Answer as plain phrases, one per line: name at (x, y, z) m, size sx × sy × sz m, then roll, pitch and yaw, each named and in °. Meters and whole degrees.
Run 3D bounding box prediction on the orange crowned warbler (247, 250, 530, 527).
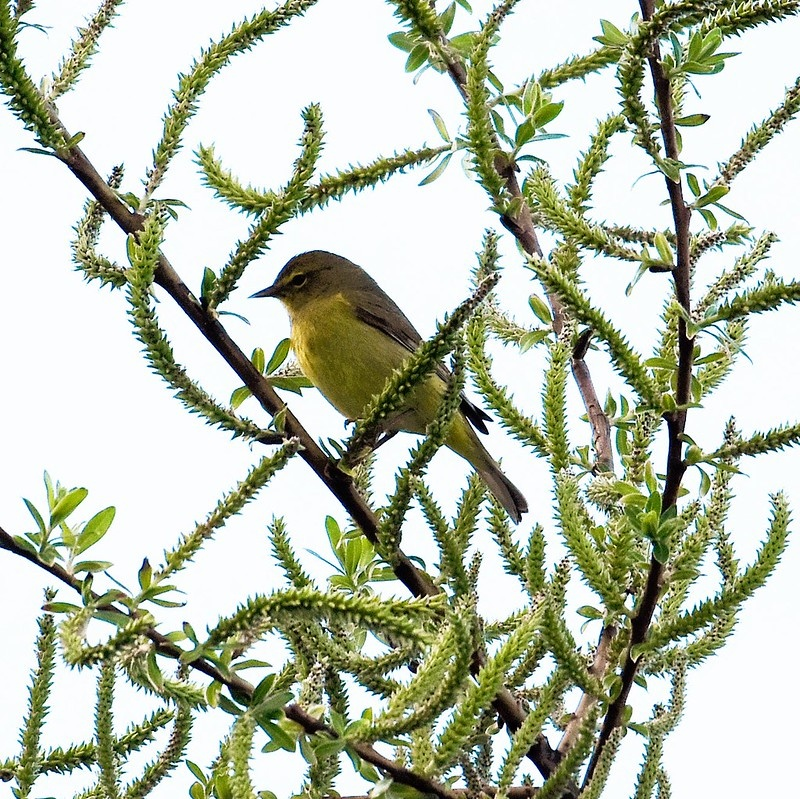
orange crowned warbler at (-0.017, -0.012, 4.767) m, size 1.141 × 0.408 × 0.752 m, roll 28°, pitch -50°, yaw 19°
